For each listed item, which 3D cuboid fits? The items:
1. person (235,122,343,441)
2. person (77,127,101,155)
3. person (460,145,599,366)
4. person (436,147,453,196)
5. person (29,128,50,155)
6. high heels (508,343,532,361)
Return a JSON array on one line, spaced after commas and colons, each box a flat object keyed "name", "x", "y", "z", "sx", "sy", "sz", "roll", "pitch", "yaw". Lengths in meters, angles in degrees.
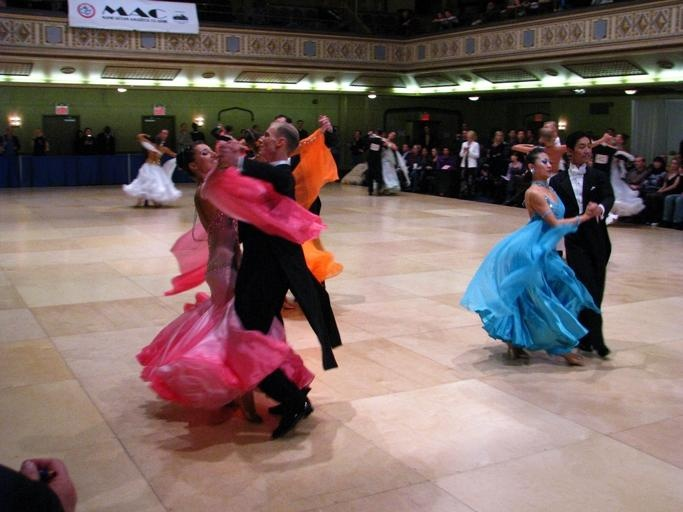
[{"name": "person", "x": -0.356, "y": 0.172, "z": 3.084, "sx": 0.682, "sy": 2.035, "sz": 0.723, "roll": -1, "pitch": 16, "yaw": -6}, {"name": "person", "x": -10.803, "y": -4.767, "z": 19.556, "sx": 0.831, "sy": 1.062, "sz": 0.496, "roll": -2, "pitch": 16, "yaw": -9}, {"name": "person", "x": 1.744, "y": 0.036, "z": 4.232, "sx": 1.140, "sy": 1.910, "sz": 0.663, "roll": 5, "pitch": 17, "yaw": 16}, {"name": "person", "x": 3.775, "y": -3.033, "z": 16.947, "sx": 0.619, "sy": 1.642, "sz": 1.026, "roll": 4, "pitch": 16, "yaw": 11}, {"name": "person", "x": -12.260, "y": -4.554, "z": 18.792, "sx": 0.530, "sy": 1.023, "sz": 0.569, "roll": -8, "pitch": 18, "yaw": -28}, {"name": "high heels", "x": 1.679, "y": 0.913, "z": 4.468, "sx": 0.118, "sy": 0.110, "sz": 0.304, "roll": -7, "pitch": -5, "yaw": -8}]
